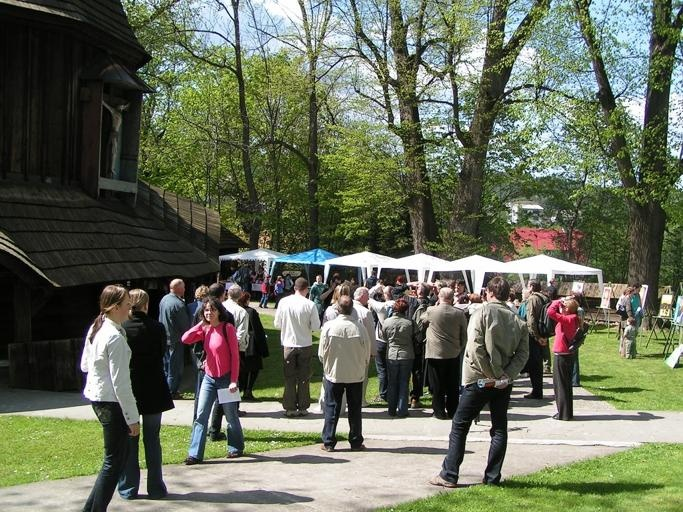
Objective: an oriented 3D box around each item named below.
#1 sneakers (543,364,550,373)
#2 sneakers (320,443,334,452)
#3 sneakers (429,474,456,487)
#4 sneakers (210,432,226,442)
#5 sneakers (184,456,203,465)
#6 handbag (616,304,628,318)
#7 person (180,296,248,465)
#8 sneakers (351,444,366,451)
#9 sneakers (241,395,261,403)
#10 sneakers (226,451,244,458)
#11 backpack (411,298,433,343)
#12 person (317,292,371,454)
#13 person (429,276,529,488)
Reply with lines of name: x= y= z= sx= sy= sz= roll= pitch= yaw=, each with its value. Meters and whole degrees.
sneakers: x=5.486 y=3.020 z=20.349 sx=0.249 sy=0.245 sz=0.227 roll=0 pitch=1 yaw=6
sneakers: x=-0.253 y=3.197 z=12.760 sx=0.099 sy=0.091 sz=0.208 roll=3 pitch=0 yaw=-30
sneakers: x=1.469 y=3.233 z=11.034 sx=0.330 sy=0.141 sz=0.152 roll=5 pitch=0 yaw=44
sneakers: x=-2.184 y=3.103 z=13.183 sx=0.118 sy=0.156 sz=0.361 roll=4 pitch=1 yaw=30
sneakers: x=-2.330 y=3.185 z=11.913 sx=0.280 sy=0.120 sz=0.101 roll=9 pitch=-7 yaw=-5
handbag: x=8.786 y=1.734 z=23.793 sx=0.279 sy=0.381 sz=0.150 roll=5 pitch=7 yaw=33
person: x=-2.025 y=1.961 z=12.141 sx=0.960 sy=2.589 sz=0.435 roll=2 pitch=-4 yaw=-11
sneakers: x=0.291 y=3.211 z=12.827 sx=0.120 sy=0.115 sz=0.275 roll=-3 pitch=-6 yaw=44
sneakers: x=-1.980 y=3.104 z=16.618 sx=0.449 sy=0.203 sz=0.152 roll=-1 pitch=-1 yaw=-3
sneakers: x=-1.724 y=3.182 z=12.237 sx=0.246 sy=0.106 sz=0.095 roll=12 pitch=-12 yaw=-25
backpack: x=1.670 y=1.387 z=15.734 sx=0.250 sy=0.714 sz=0.550 roll=10 pitch=4 yaw=40
person: x=0.023 y=1.968 z=12.956 sx=0.832 sy=2.600 sz=0.532 roll=1 pitch=-4 yaw=-1
person: x=2.096 y=1.822 z=11.168 sx=1.211 sy=3.056 sz=0.423 roll=1 pitch=-4 yaw=10
